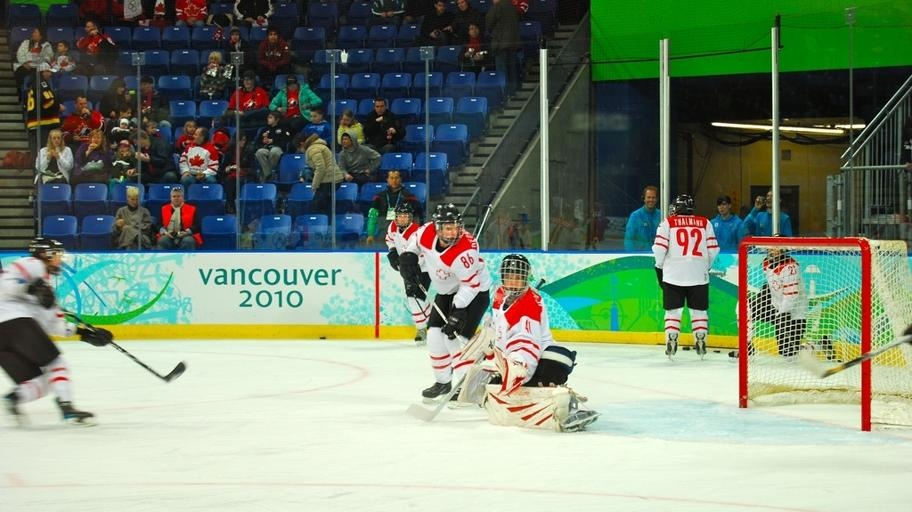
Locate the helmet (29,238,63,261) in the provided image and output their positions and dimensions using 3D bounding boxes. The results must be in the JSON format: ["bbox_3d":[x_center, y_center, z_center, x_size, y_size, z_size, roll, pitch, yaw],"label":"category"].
[{"bbox_3d":[-4.609,-0.100,13.226,0.322,0.284,0.256,-5,14,-17],"label":"helmet"}]

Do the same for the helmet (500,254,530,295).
[{"bbox_3d":[0.652,0.189,12.814,0.328,0.393,0.413,2,2,-3],"label":"helmet"}]

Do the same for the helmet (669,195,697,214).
[{"bbox_3d":[3.054,-0.684,15.842,0.312,0.283,0.237,3,0,19],"label":"helmet"}]

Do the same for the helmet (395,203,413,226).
[{"bbox_3d":[-0.715,-0.555,16.204,0.236,0.290,0.300,1,-2,2],"label":"helmet"}]
